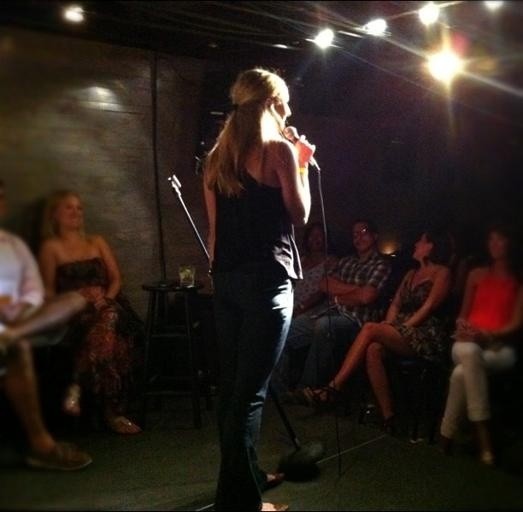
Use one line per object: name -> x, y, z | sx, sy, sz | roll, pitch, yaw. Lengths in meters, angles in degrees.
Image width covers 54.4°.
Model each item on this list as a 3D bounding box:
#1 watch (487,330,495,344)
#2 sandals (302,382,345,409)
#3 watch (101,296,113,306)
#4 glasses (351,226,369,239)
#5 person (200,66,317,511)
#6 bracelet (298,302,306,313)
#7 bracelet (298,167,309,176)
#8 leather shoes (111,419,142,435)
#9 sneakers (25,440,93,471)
watch -> 1.065, 0.376, 2.339 | 0.014, 0.041, 0.041 | 5, 13, -3
sandals -> 0.333, 0.735, 2.685 | 0.238, 0.092, 0.083 | 3, 14, 11
watch -> -0.772, 0.224, 2.539 | 0.010, 0.040, 0.044 | -1, 35, 36
glasses -> 0.537, -0.127, 2.761 | 0.051, 0.066, 0.063 | -34, 17, 14
person -> -0.002, 0.135, 1.811 | 0.376, 1.575, 0.289 | -2, 8, -5
bracelet -> 0.232, 0.301, 2.963 | 0.046, 0.059, 0.054 | 8, -14, -15
bracelet -> 0.160, -0.313, 1.875 | 0.044, 0.010, 0.040 | 0, 39, 1
leather shoes -> -0.664, 0.831, 2.467 | 0.183, 0.078, 0.056 | -4, -5, 26
sneakers -> -0.800, 0.796, 2.045 | 0.099, 0.076, 0.257 | -43, -36, 22
